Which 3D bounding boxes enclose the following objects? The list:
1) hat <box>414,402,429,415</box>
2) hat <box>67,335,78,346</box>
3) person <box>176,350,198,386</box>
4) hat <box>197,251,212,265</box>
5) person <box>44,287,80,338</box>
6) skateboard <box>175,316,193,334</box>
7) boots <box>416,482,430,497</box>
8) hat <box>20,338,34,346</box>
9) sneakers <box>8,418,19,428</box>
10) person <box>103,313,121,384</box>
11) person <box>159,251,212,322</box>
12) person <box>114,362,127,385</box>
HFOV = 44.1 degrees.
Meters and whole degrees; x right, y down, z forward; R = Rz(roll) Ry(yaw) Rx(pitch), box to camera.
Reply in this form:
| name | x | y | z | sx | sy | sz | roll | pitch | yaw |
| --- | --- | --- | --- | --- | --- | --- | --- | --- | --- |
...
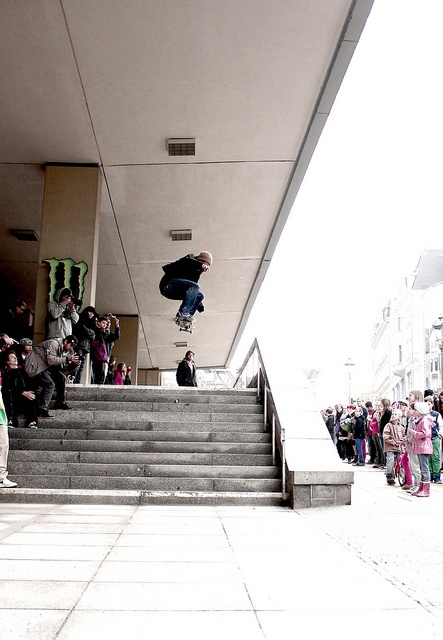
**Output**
| name | x | y | z | sx | sy | sz | roll | pitch | yaw |
| --- | --- | --- | --- | --- | --- | --- | --- | --- | --- |
| hat | 2.453 | 1.114 | 6.733 | 0.116 | 0.152 | 0.144 | 5 | -51 | 4 |
| hat | -2.092 | 0.288 | 7.694 | 0.146 | 0.086 | 0.098 | 30 | -20 | 16 |
| person | -0.735 | 0.987 | 11.269 | 0.392 | 0.908 | 1.120 | -2 | -14 | -5 |
| hat | -0.251 | -0.939 | 8.331 | 0.188 | 0.227 | 0.266 | -2 | -14 | -7 |
| person | -2.575 | -0.109 | 8.887 | 0.505 | 0.985 | 0.465 | -16 | -23 | 22 |
| skateboard | -0.497 | 0.064 | 8.069 | 0.281 | 0.286 | 0.225 | 1 | 11 | -23 |
| boots | 2.408 | 2.045 | 6.590 | 0.164 | 0.176 | 0.173 | -9 | -14 | 20 |
| hat | -2.944 | 0.333 | 8.270 | 0.166 | 0.052 | 0.168 | 4 | 5 | 27 |
| sneakers | -2.605 | 1.288 | 6.883 | 0.088 | 0.098 | 0.112 | 0 | -37 | -5 |
| person | -2.232 | 0.688 | 10.728 | 0.412 | 1.542 | 0.322 | 4 | 17 | -5 |
| person | -0.543 | -0.482 | 8.323 | 0.641 | 1.188 | 0.647 | 1 | -14 | -19 |
| person | -2.641 | 1.419 | 14.383 | 0.203 | 0.760 | 0.723 | 2 | -4 | 2 |
